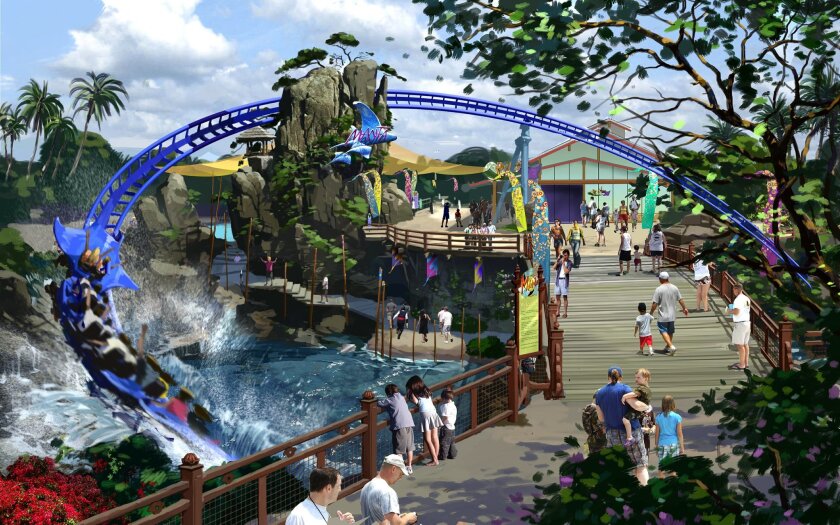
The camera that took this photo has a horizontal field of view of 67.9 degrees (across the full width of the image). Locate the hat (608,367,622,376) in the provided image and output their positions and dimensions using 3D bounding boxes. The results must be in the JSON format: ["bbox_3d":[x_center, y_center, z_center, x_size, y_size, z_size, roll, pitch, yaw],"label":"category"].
[{"bbox_3d":[3.091,1.710,9.852,0.141,0.172,0.490,-1,3,23],"label":"hat"}]

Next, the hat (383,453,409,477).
[{"bbox_3d":[-0.327,2.503,7.678,0.255,0.246,0.248,-3,3,-10],"label":"hat"}]
